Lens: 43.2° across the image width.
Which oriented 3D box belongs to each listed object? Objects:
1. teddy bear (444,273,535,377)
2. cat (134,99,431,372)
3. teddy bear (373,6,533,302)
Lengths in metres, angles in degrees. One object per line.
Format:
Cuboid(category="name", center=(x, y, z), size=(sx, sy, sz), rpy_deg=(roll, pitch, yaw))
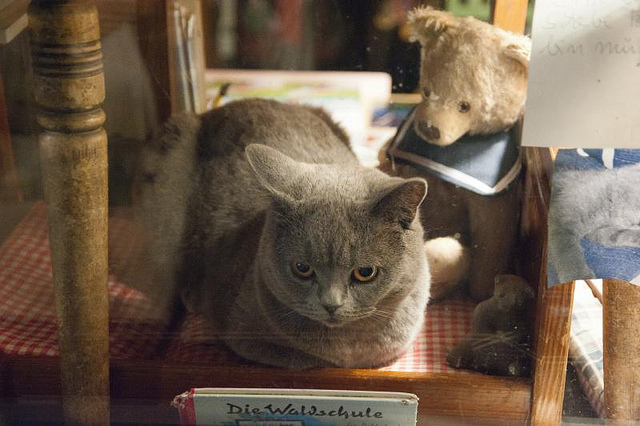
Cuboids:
Cuboid(category="teddy bear", center=(0.317, 0.201, 1.501), size=(0.145, 0.185, 0.107), rpy_deg=(9, 12, 19))
Cuboid(category="cat", center=(-0.114, 0.000, 1.513), size=(0.363, 0.374, 0.535), rpy_deg=(-25, 51, -30))
Cuboid(category="teddy bear", center=(0.231, -0.097, 1.422), size=(0.259, 0.496, 0.135), rpy_deg=(7, 25, 11))
